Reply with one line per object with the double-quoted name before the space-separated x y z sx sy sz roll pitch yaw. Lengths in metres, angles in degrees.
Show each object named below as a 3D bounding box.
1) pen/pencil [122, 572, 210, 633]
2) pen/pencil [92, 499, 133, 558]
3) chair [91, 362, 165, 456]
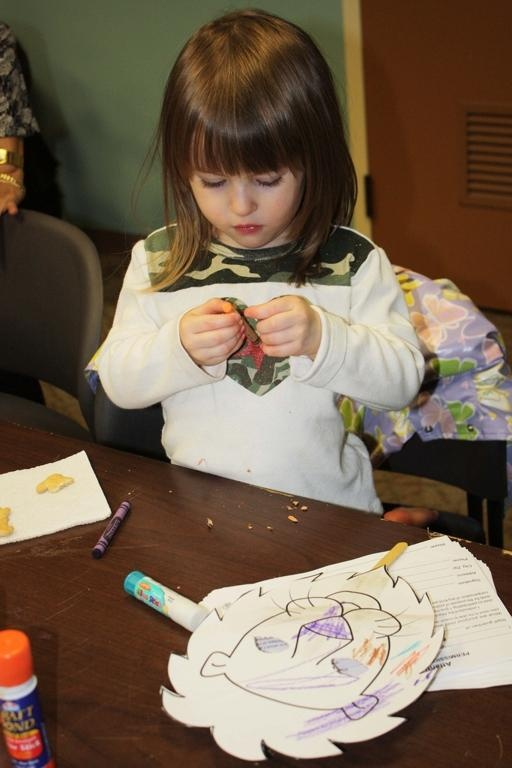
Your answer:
"pen/pencil" -0.080 0.188 0.576 0.095 0.029 0.029 26 3 35
"pen/pencil" -0.144 0.149 0.681 0.012 0.012 0.071 29 26 3
"chair" -0.207 0.039 1.114 0.137 0.142 0.103 -5 17 -19
